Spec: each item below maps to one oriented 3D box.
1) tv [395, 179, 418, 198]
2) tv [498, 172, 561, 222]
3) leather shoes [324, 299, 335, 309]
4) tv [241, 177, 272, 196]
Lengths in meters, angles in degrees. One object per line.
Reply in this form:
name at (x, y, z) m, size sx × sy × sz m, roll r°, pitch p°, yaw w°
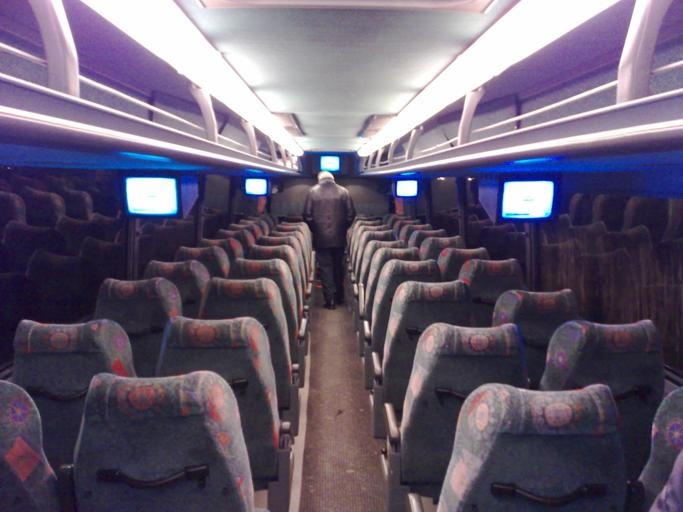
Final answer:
tv at (1.380, -1.430, 11.645) m, size 0.261 × 0.369 × 0.722 m, roll -4°, pitch 12°, yaw -28°
tv at (1.576, -0.490, 4.779) m, size 0.591 × 0.585 × 0.321 m, roll 0°, pitch 2°, yaw 9°
leather shoes at (-0.175, 0.720, 8.663) m, size 0.190 × 0.161 × 0.346 m, roll 1°, pitch 10°, yaw -2°
tv at (-1.840, -1.533, 12.085) m, size 0.394 × 0.385 × 0.783 m, roll 5°, pitch 10°, yaw 16°
